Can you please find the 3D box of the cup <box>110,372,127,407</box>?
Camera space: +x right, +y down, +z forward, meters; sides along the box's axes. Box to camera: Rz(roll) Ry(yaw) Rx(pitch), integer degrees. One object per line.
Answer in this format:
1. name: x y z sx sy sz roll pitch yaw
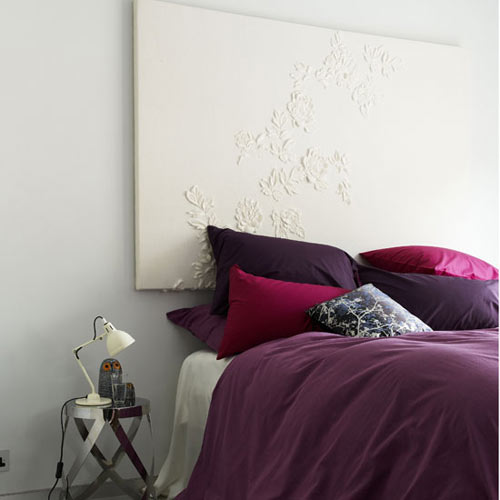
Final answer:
1. cup: -0.568 0.609 2.075 0.093 0.171 0.090 0 -10 0
